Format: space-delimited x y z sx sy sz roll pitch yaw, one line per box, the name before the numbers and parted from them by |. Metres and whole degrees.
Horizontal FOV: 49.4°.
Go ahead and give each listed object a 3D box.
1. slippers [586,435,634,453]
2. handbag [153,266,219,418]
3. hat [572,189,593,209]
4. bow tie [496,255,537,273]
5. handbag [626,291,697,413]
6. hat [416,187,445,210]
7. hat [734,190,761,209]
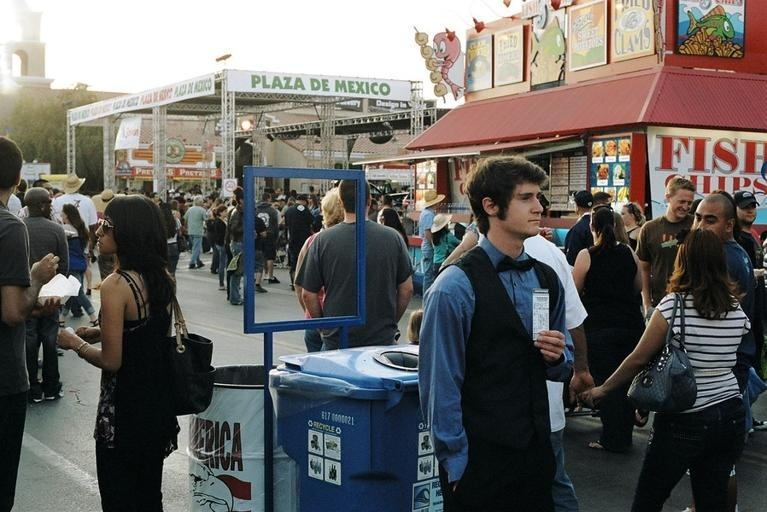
slippers | 2.256 1.885 8.392 0.397 0.114 0.152 -5 -2 41
handbag | -1.410 0.716 6.034 0.332 0.847 0.194 0 2 -9
hat | 2.412 -0.697 10.153 0.159 0.141 0.240 -1 24 0
bow tie | 0.863 0.050 5.393 0.303 0.100 0.073 -2 3 -32
handbag | 2.073 0.732 6.210 0.483 0.883 0.260 1 2 20
hat | 0.975 -1.195 17.421 0.570 0.228 0.631 -6 32 45
hat | 3.674 -0.572 8.579 0.231 0.187 0.328 -1 3 -5
